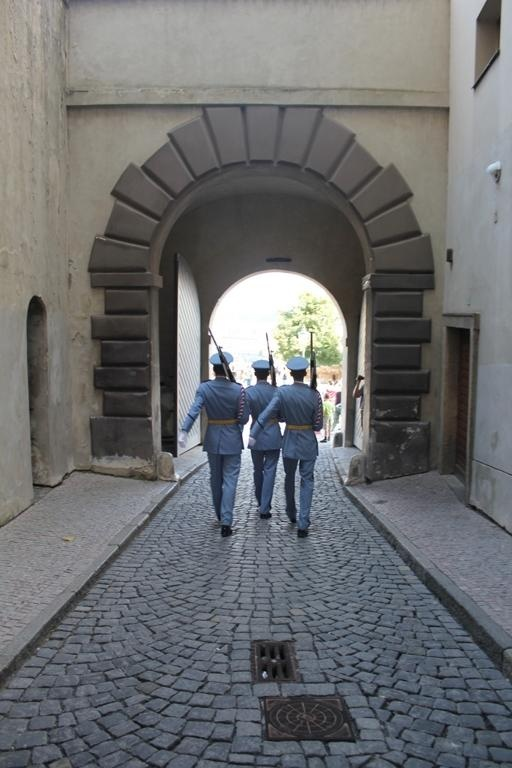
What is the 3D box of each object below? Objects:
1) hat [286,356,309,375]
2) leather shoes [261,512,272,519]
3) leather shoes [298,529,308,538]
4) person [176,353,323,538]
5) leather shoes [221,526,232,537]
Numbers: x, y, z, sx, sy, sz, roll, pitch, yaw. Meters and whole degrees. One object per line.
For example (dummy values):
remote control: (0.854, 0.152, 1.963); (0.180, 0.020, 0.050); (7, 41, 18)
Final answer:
hat: (0.395, -0.186, 6.284); (0.186, 0.161, 0.264); (1, 1, 3)
leather shoes: (0.091, 1.276, 6.384); (0.041, 0.055, 0.120); (3, 2, 16)
leather shoes: (0.399, 1.280, 5.617); (0.036, 0.048, 0.114); (1, 0, 11)
person: (0.272, 0.519, 6.323); (0.719, 1.572, 1.494); (0, 2, -23)
leather shoes: (-0.254, 1.267, 5.630); (0.042, 0.061, 0.133); (2, 2, 5)
